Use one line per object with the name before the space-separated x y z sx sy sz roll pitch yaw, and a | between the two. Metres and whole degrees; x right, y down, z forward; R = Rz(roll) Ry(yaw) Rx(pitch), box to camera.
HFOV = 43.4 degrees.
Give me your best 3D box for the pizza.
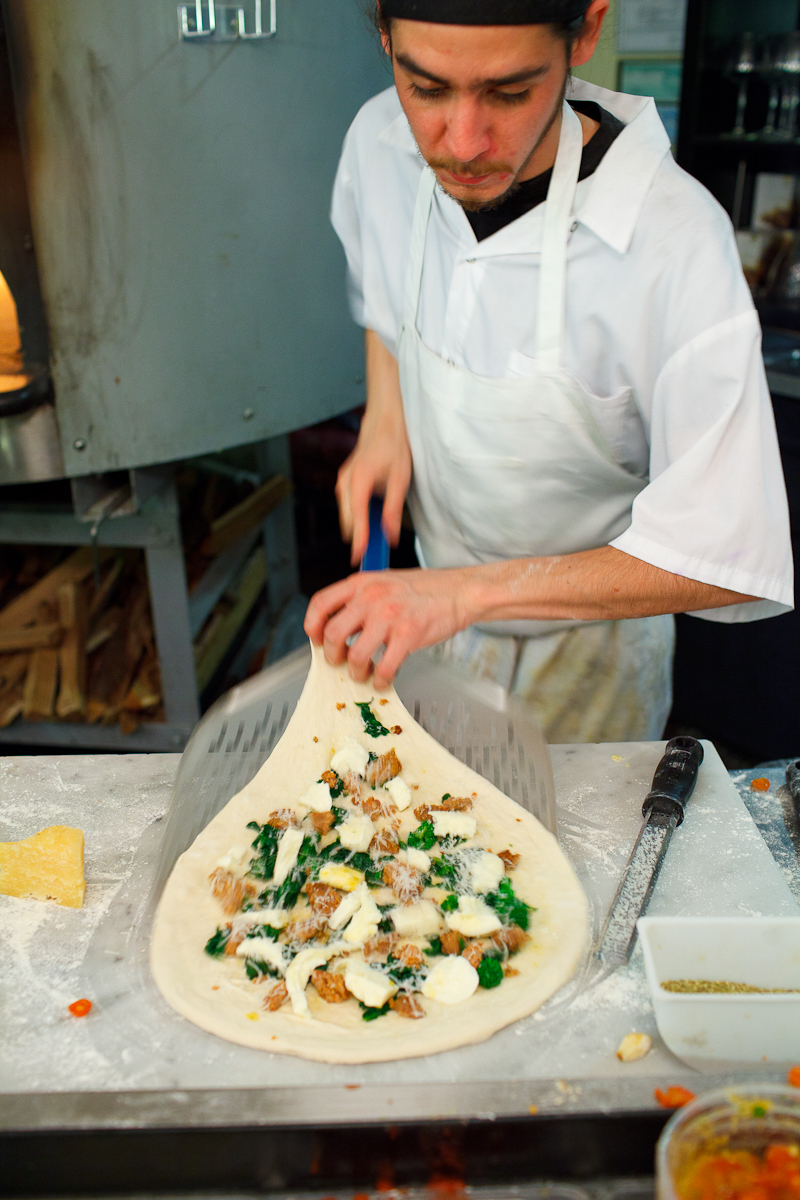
pizza | -0.024 0.187 0.941 0.393 0.605 0.062 -4 21 -3
